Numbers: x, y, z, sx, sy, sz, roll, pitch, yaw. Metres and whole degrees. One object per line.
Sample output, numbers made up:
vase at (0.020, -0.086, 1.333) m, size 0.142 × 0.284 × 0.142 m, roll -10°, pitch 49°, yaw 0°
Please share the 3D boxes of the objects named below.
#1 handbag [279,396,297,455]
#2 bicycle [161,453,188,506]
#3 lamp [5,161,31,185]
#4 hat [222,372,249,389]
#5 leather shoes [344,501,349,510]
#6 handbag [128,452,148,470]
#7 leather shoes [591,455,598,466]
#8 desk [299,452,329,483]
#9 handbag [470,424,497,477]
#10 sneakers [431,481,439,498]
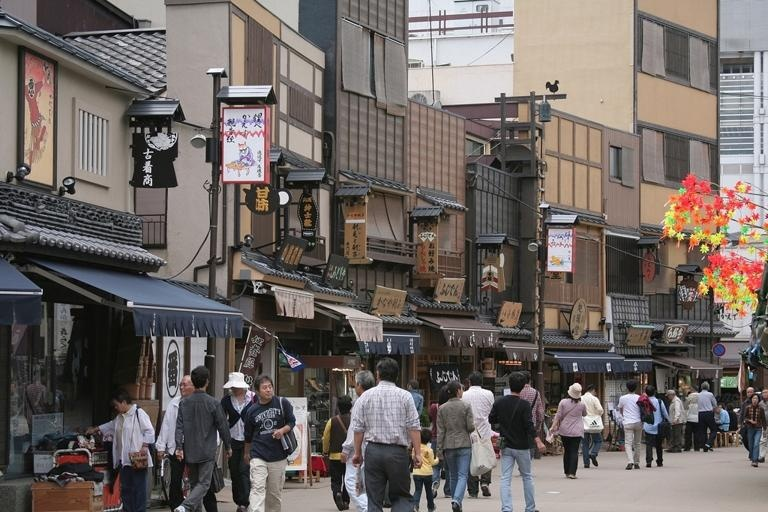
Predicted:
handbag at (-2.212, 3.952, 40.420) m, size 0.366 × 1.347 × 0.366 m, roll -1°, pitch -11°, yaw -2°
bicycle at (-4.780, 5.259, 40.691) m, size 0.369 × 1.105 × 0.818 m, roll 4°, pitch 4°, yaw 4°
lamp at (-8.524, -1.937, 41.071) m, size 0.326 × 0.309 × 0.628 m, roll 19°, pitch -27°, yaw -39°
hat at (-3.483, 2.992, 41.583) m, size 0.475 × 0.274 × 0.509 m, roll 0°, pitch 2°, yaw -6°
leather shoes at (-0.896, 6.111, 42.498) m, size 0.117 × 0.107 × 0.117 m, roll 1°, pitch 2°, yaw -1°
handbag at (-5.669, 4.748, 40.399) m, size 0.415 × 0.373 × 0.171 m, roll 1°, pitch 2°, yaw -8°
leather shoes at (6.184, 6.069, 51.748) m, size 0.128 × 0.380 × 0.153 m, roll -34°, pitch 8°, yaw -6°
desk at (-1.815, 5.716, 46.805) m, size 0.707 × 0.645 × 0.706 m, roll -3°, pitch -9°, yaw 20°
handbag at (2.396, 4.901, 43.771) m, size 0.722 × 1.052 × 0.390 m, roll 6°, pitch -13°, yaw -32°
sneakers at (1.293, 5.937, 44.484) m, size 0.172 × 0.561 × 0.240 m, roll -1°, pitch -1°, yaw -10°
